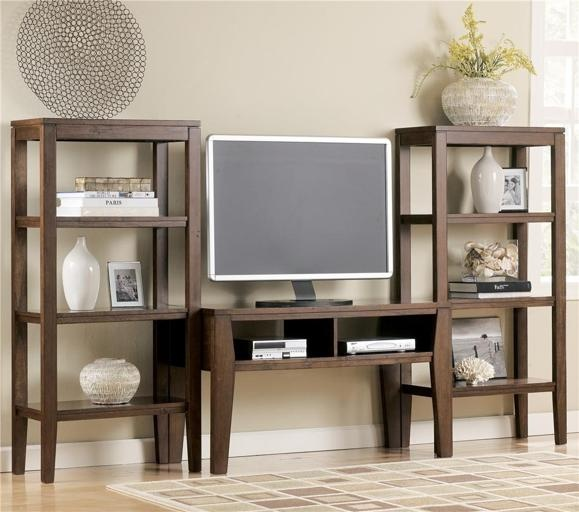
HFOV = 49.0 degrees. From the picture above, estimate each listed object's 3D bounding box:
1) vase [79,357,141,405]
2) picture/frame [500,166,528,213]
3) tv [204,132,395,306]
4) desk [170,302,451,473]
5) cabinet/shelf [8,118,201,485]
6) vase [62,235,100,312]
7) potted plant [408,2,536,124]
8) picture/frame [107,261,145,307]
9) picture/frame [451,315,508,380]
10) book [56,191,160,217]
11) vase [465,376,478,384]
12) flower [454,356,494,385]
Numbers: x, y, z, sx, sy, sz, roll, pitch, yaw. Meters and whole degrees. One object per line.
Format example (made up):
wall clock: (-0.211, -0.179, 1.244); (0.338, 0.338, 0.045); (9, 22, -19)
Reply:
vase: (-0.740, 0.517, 2.609); (0.189, 0.178, 0.167); (-5, -7, 34)
picture/frame: (1.173, -0.340, 3.318); (0.238, 0.282, 0.026); (1, -4, -13)
tv: (0.061, -0.149, 2.897); (0.907, 0.769, 0.207); (-2, 2, -23)
desk: (0.138, 0.599, 2.916); (1.131, 0.727, 0.500); (1, -7, -21)
cabinet/shelf: (-0.764, 0.170, 2.619); (0.795, 1.445, 0.524); (0, -6, -9)
vase: (-0.844, 0.074, 2.581); (0.122, 0.306, 0.133); (-5, -7, 38)
potted plant: (0.941, -0.967, 3.513); (0.714, 0.740, 0.572); (-3, 2, -10)
picture/frame: (-0.717, 0.124, 2.748); (0.189, 0.266, 0.026); (-1, -7, -36)
picture/frame: (0.979, 0.481, 3.305); (0.362, 0.396, 0.040); (2, -7, -9)
book: (-0.728, -0.206, 2.538); (0.384, 0.114, 0.102); (2, -6, -22)
vase: (0.912, 0.611, 3.150); (0.063, 0.046, 0.040); (-4, -7, 28)
flower: (0.938, 0.573, 3.164); (0.176, 0.129, 0.165); (2, -6, -23)
